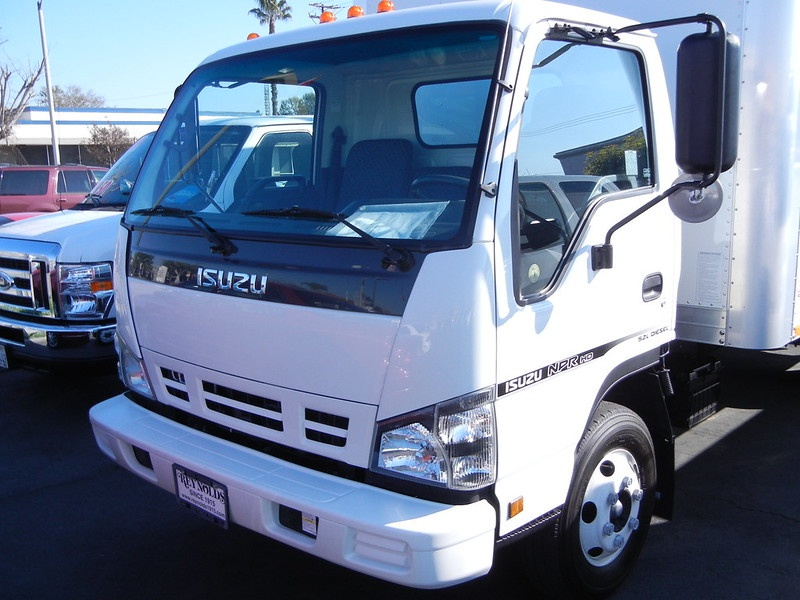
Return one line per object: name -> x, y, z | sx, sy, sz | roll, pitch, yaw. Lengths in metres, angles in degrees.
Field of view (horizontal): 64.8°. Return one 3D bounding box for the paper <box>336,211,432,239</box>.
paper -> -0.055, -0.362, 2.969 | 0.429, 0.123, 0.157 | 7, 12, 29
